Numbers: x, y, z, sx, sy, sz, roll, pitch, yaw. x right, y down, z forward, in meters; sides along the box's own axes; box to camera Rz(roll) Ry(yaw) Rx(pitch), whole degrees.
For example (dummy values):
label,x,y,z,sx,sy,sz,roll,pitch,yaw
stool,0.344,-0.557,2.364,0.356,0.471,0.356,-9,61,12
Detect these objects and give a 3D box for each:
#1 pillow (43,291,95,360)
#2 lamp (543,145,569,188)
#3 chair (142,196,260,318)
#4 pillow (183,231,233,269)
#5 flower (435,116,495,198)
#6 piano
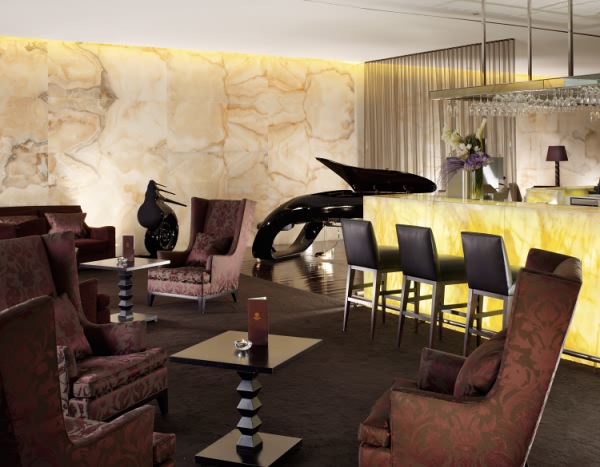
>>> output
label,x,y,z,sx,sy,sz,roll,pitch,yaw
pillow,-1.366,0.571,2.811,0.113,0.350,0.371,-15,2,5
lamp,7.111,-1.917,12.826,0.463,1.149,1.105,3,8,28
chair,-1.298,0.223,6.177,0.948,1.282,1.164,4,6,28
pillow,-1.281,0.101,6.314,0.521,0.169,0.549,19,35,26
flower,2.080,-0.927,5.816,0.453,0.941,0.642,-2,7,-10
piano,0.798,-0.579,8.818,3.312,1.834,1.265,-6,5,1
